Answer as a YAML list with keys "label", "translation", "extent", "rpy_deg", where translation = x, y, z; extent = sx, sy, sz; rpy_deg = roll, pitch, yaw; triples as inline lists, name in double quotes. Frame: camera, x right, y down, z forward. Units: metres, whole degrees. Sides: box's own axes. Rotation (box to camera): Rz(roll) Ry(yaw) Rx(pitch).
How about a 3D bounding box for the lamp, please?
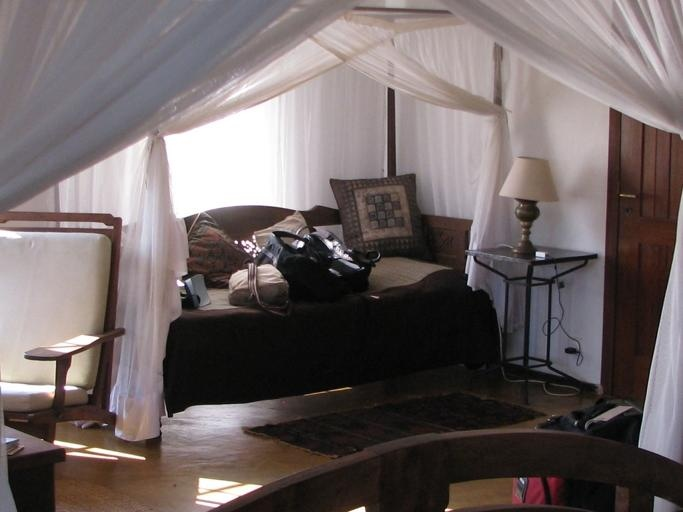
- label: "lamp"
  translation: [1.250, -0.339, 3.606]
  extent: [0.490, 0.629, 0.369]
  rpy_deg: [-8, 12, -43]

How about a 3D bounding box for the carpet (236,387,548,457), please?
- label: "carpet"
  translation: [0.325, 0.927, 3.088]
  extent: [1.668, 0.078, 0.573]
  rpy_deg: [-3, 9, -22]

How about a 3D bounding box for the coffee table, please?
- label: "coffee table"
  translation: [1.253, 0.411, 3.656]
  extent: [0.630, 0.955, 0.602]
  rpy_deg: [-7, 11, -38]

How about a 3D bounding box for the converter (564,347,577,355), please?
- label: "converter"
  translation: [1.561, 0.642, 3.686]
  extent: [0.055, 0.032, 0.053]
  rpy_deg: [-3, 5, -30]

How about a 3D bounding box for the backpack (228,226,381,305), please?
- label: "backpack"
  translation: [-0.217, 0.045, 3.424]
  extent: [0.608, 0.242, 0.587]
  rpy_deg: [0, 13, -36]
